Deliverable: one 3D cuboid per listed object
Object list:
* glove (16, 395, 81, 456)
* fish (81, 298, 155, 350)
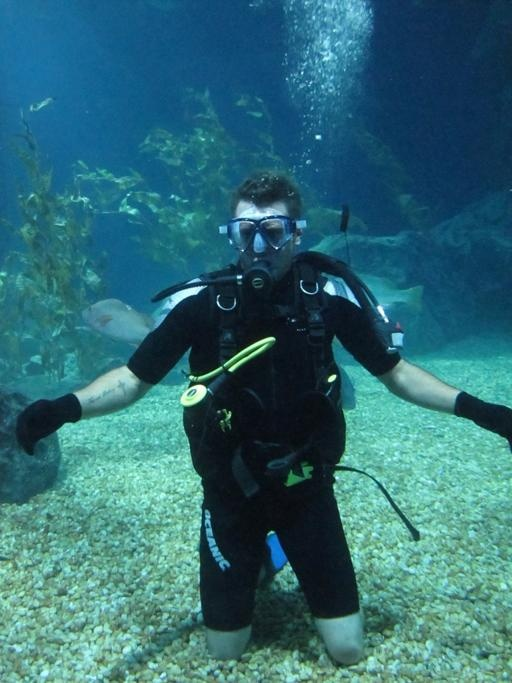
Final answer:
[{"bbox_3d":[-1.310,0.505,3.717,0.424,0.267,0.171,-30,-31,25],"label":"glove"},{"bbox_3d":[-2.210,-0.252,9.545,1.264,0.534,0.562,21,-14,6],"label":"fish"}]
